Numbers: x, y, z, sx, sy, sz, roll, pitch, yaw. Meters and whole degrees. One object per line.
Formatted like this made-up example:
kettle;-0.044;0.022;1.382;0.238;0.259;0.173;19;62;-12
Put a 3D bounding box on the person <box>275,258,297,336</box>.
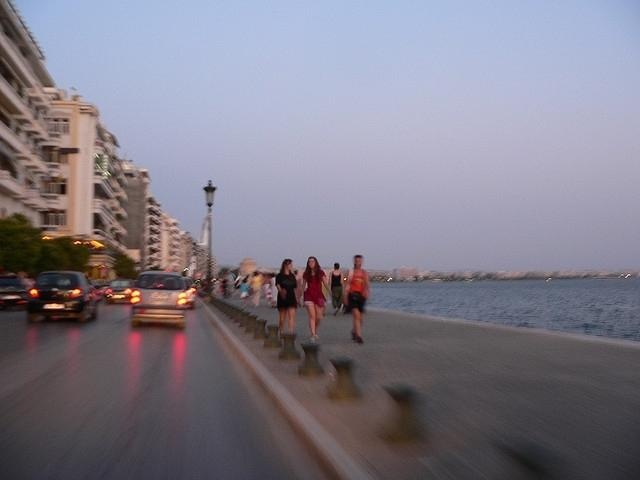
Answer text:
person;-0.847;1.461;11.923;0.493;1.842;1.252;-3;-4;-6
